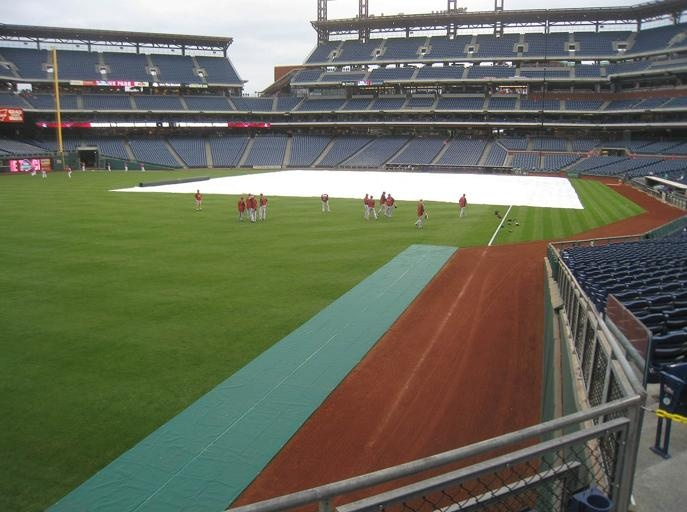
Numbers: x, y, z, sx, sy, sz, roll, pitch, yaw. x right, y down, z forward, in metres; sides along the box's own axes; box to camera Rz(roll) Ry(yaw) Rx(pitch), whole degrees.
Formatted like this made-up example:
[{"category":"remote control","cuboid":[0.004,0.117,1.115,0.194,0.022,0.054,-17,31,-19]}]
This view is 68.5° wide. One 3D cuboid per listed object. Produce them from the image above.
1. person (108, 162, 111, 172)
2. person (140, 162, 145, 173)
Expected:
[{"category":"person","cuboid":[-31.641,-12.217,68.247,0.509,1.026,1.032,-6,10,-24]},{"category":"person","cuboid":[-27.595,-12.339,69.397,0.623,1.092,1.934,-5,9,-19]}]
